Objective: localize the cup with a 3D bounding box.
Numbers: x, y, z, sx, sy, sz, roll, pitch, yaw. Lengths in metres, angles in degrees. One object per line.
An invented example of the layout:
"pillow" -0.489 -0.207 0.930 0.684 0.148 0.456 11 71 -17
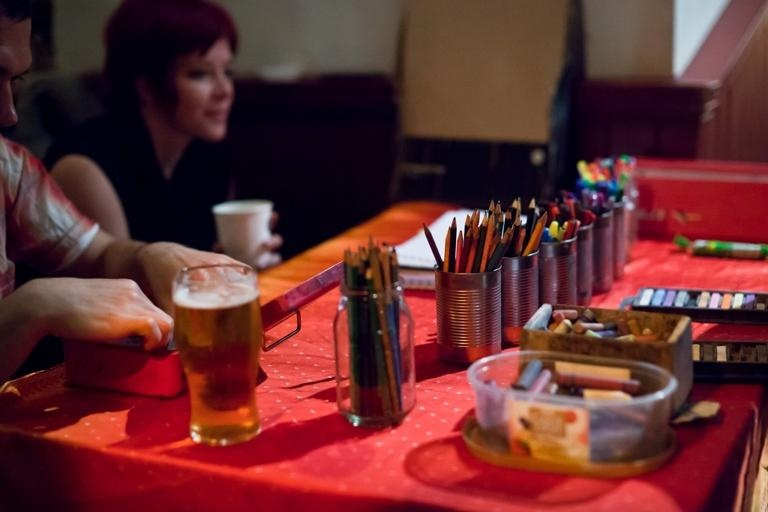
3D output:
"cup" -0.249 0.150 1.021 0.124 0.259 0.122 -1 15 0
